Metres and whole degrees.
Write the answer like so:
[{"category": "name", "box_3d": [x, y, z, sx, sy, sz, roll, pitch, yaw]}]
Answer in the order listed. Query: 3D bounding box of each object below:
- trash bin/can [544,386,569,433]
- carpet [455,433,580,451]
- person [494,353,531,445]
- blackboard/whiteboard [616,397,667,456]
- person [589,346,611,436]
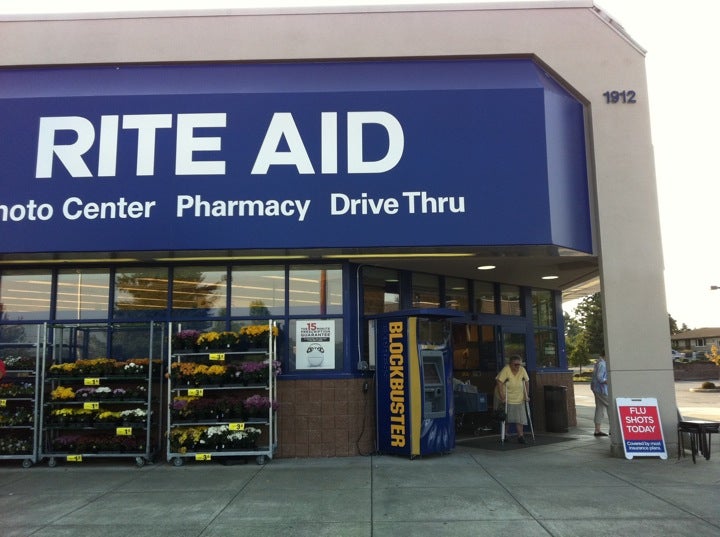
[{"category": "trash bin/can", "box_3d": [4.870, 3.482, 16.300, 0.544, 1.093, 0.504, -1, -3, 12]}, {"category": "carpet", "box_3d": [3.500, 3.852, 14.526, 2.430, 0.137, 1.823, 4, -4, 6]}, {"category": "person", "box_3d": [3.411, 2.905, 14.811, 0.732, 1.898, 0.718, 1, -8, -13]}, {"category": "blackboard/whiteboard", "box_3d": [5.442, 3.094, 12.746, 0.847, 1.148, 0.101, 0, -20, -5]}, {"category": "person", "box_3d": [5.695, 2.984, 15.583, 0.690, 2.230, 0.901, 3, -1, 29]}]
